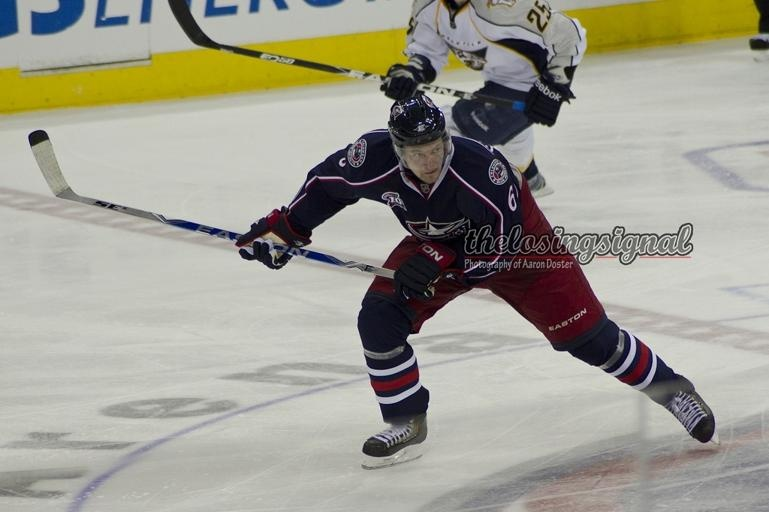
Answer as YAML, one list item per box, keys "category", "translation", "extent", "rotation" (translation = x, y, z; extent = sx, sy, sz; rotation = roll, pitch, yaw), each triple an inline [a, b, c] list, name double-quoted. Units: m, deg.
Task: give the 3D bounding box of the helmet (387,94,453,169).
- category: "helmet"
  translation: [0.126, -0.497, 3.438]
  extent: [0.261, 0.255, 0.281]
  rotation: [-13, 39, 1]

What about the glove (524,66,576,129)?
- category: "glove"
  translation: [0.920, -0.880, 4.859]
  extent: [0.266, 0.305, 0.111]
  rotation: [17, 8, 3]

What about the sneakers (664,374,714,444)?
- category: "sneakers"
  translation: [1.187, 0.590, 3.442]
  extent: [0.102, 0.128, 0.299]
  rotation: [-48, 19, 14]

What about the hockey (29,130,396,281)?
- category: "hockey"
  translation: [-1.124, -0.311, 4.572]
  extent: [0.042, 0.366, 1.734]
  rotation: [-32, -19, 19]

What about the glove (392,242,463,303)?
- category: "glove"
  translation: [0.175, -0.013, 3.550]
  extent: [0.261, 0.122, 0.340]
  rotation: [7, 18, -1]

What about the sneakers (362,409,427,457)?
- category: "sneakers"
  translation: [0.050, 0.682, 3.462]
  extent: [0.292, 0.133, 0.094]
  rotation: [-8, 12, -39]
